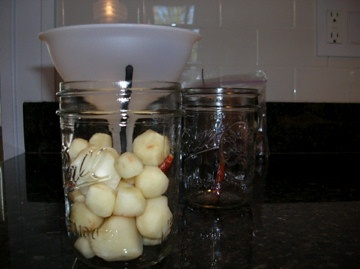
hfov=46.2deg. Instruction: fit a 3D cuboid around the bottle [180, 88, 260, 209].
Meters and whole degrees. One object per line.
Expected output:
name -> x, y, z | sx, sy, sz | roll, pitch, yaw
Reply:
bottle -> 0.100, 0.026, 0.968 | 0.199, 0.262, 0.117 | 0, 6, -9
